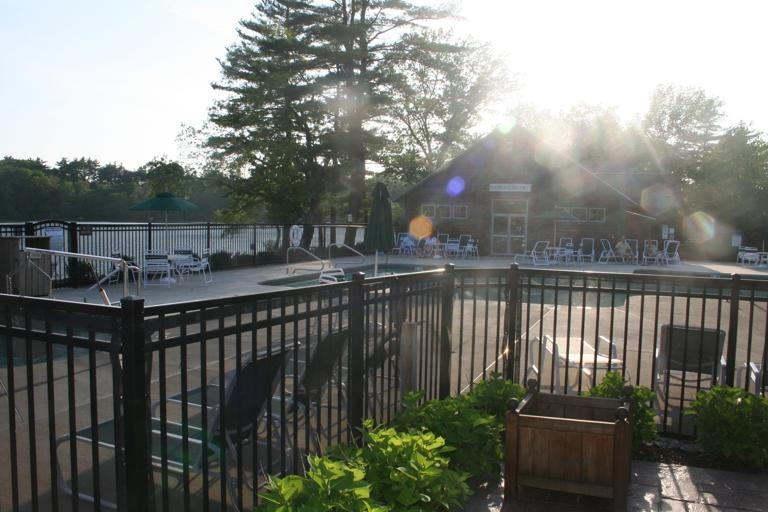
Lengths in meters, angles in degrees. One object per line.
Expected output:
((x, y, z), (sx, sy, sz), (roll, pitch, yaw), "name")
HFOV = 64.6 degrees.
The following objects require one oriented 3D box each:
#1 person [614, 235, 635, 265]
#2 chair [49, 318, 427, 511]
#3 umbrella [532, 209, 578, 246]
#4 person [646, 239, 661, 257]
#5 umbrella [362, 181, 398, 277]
((11.494, -0.251, 29.150), (0.960, 1.768, 1.219), (-2, 1, -5), "person")
((-1.329, 1.559, 6.066), (3.207, 1.897, 1.979), (-2, 4, -32), "chair")
((8.780, -1.547, 31.525), (1.854, 1.530, 2.075), (1, 5, 24), "umbrella")
((12.447, -0.341, 28.199), (0.637, 0.773, 0.973), (1, 3, 25), "person")
((-0.109, -0.821, 16.356), (0.809, 2.440, 1.522), (0, 3, -2), "umbrella")
